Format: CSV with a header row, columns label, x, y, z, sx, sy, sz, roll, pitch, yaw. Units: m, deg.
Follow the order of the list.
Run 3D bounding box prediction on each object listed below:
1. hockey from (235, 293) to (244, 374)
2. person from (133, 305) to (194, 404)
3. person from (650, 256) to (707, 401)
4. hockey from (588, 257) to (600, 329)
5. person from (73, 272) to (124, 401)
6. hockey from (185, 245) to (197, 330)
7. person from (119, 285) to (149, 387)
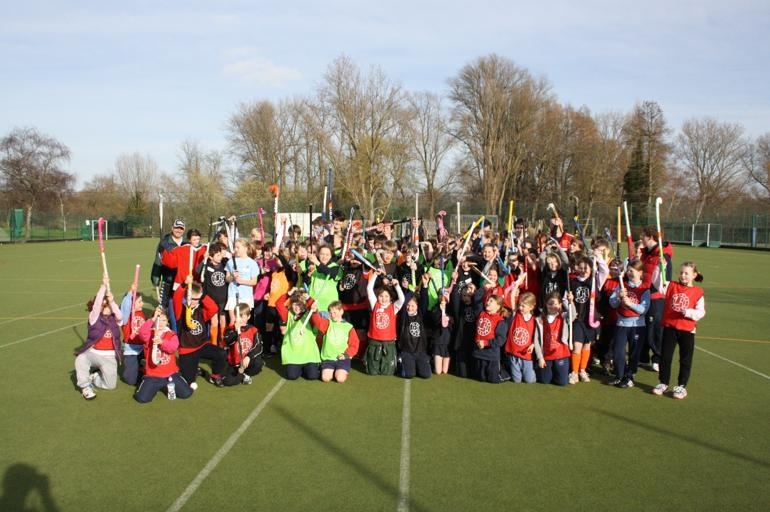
label,x,y,z,sx,sy,sz,roll,pitch,yaw
hockey,-2.739,1.567,13.440,0.146,1.320,0.339,-2,4,-13
person,-4.024,1.742,12.973,0.829,1.747,0.994,0,-1,4
person,5.280,1.291,12.868,0.888,2.456,0.792,6,-12,15
hockey,4.042,0.697,13.741,0.192,1.361,0.561,0,4,18
person,-5.282,1.437,13.106,0.718,2.165,0.855,8,4,28
hockey,-3.765,0.668,13.826,0.091,1.471,0.326,1,-1,-7
person,-4.711,1.543,13.281,0.541,2.046,0.513,0,-2,-10
